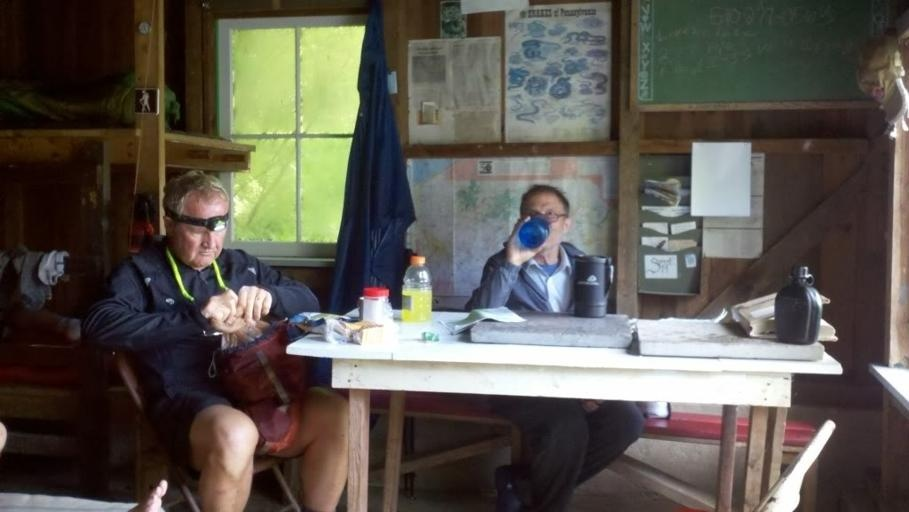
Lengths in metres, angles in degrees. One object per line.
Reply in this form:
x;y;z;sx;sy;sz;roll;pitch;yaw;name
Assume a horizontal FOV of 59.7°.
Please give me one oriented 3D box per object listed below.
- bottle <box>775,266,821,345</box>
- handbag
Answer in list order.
1.567;0.221;3.616;0.203;0.343;0.178;6;10;22;bottle
-0.937;0.657;3.983;0.630;0.590;0.495;-11;-14;12;handbag
